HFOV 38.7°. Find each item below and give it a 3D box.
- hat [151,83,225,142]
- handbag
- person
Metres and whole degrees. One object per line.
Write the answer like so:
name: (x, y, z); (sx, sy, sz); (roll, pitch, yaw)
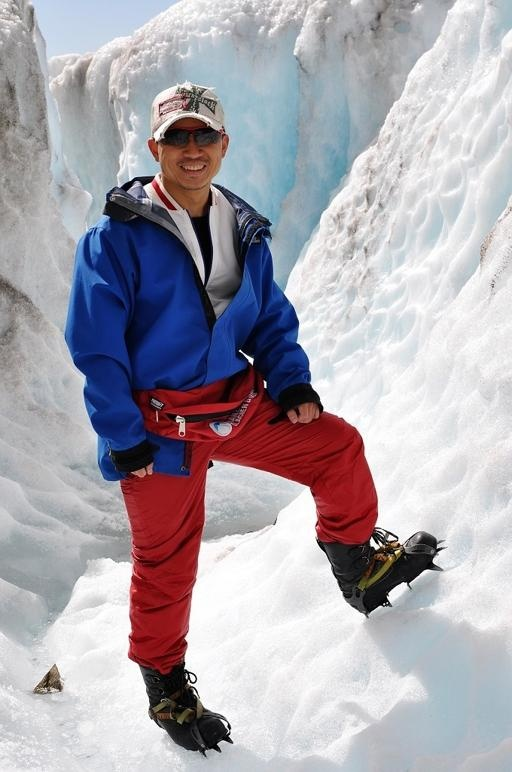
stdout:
hat: (-0.167, -0.685, 1.805); (0.177, 0.121, 0.222); (-2, 12, -17)
handbag: (-0.129, 0.057, 1.856); (0.237, 0.085, 0.174); (-13, 18, 2)
person: (-0.086, 0.061, 1.885); (0.760, 1.612, 0.510); (-15, 18, -23)
